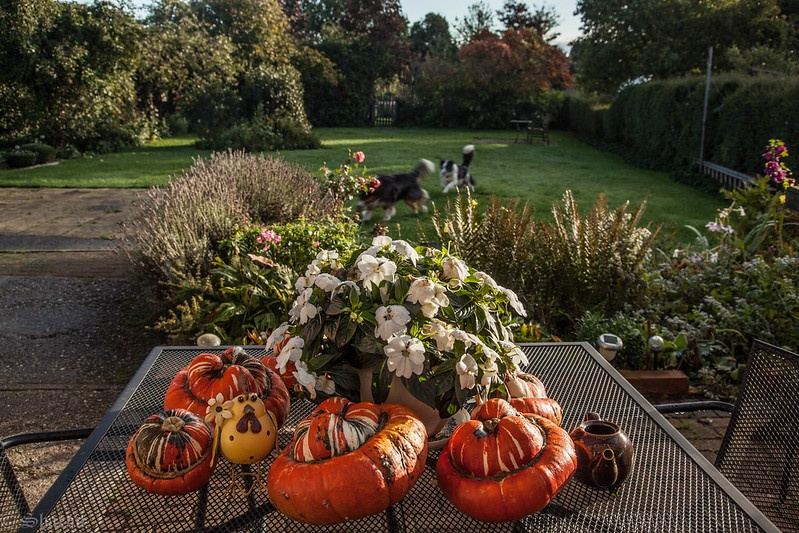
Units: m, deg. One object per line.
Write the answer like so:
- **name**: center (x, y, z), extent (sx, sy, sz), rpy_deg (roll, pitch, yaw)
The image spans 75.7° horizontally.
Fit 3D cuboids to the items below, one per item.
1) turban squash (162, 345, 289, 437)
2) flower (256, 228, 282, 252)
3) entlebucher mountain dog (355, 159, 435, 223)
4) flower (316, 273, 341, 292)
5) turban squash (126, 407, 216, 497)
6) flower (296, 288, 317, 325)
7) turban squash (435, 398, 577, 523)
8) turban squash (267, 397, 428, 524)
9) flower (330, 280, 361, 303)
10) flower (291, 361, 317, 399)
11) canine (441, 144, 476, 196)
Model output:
- **turban squash**: center (-0.689, 0.450, 2.030), extent (0.349, 0.283, 0.361), rpy_deg (20, 15, 19)
- **flower**: center (-1.153, -0.250, 4.532), extent (0.205, 0.222, 0.314), rpy_deg (-3, 21, -14)
- **entlebucher mountain dog**: center (-0.038, -1.299, 8.739), extent (1.634, 0.931, 0.467), rpy_deg (-17, 27, -31)
- **flower**: center (-0.265, 0.054, 1.872), extent (0.066, 0.032, 0.070), rpy_deg (24, 63, 6)
- **turban squash**: center (-0.852, 0.684, 1.890), extent (0.307, 0.265, 0.181), rpy_deg (-6, 22, -21)
- **flower**: center (-0.342, 0.145, 1.892), extent (0.067, 0.126, 0.054), rpy_deg (-3, 20, -12)
- **turban squash**: center (0.389, 0.692, 1.947), extent (0.540, 0.282, 0.622), rpy_deg (-10, 10, 24)
- **turban squash**: center (-0.182, 0.685, 1.795), extent (0.558, 0.378, 0.244), rpy_deg (-4, 21, -17)
- **flower**: center (-0.195, 0.088, 1.864), extent (0.107, 0.070, 0.048), rpy_deg (8, 21, 14)
- **flower**: center (-0.345, 0.424, 1.890), extent (0.070, 0.172, 0.090), rpy_deg (-15, 26, -38)
- **canine**: center (1.254, -2.033, 10.878), extent (0.429, 1.003, 1.312), rpy_deg (9, 22, 36)
